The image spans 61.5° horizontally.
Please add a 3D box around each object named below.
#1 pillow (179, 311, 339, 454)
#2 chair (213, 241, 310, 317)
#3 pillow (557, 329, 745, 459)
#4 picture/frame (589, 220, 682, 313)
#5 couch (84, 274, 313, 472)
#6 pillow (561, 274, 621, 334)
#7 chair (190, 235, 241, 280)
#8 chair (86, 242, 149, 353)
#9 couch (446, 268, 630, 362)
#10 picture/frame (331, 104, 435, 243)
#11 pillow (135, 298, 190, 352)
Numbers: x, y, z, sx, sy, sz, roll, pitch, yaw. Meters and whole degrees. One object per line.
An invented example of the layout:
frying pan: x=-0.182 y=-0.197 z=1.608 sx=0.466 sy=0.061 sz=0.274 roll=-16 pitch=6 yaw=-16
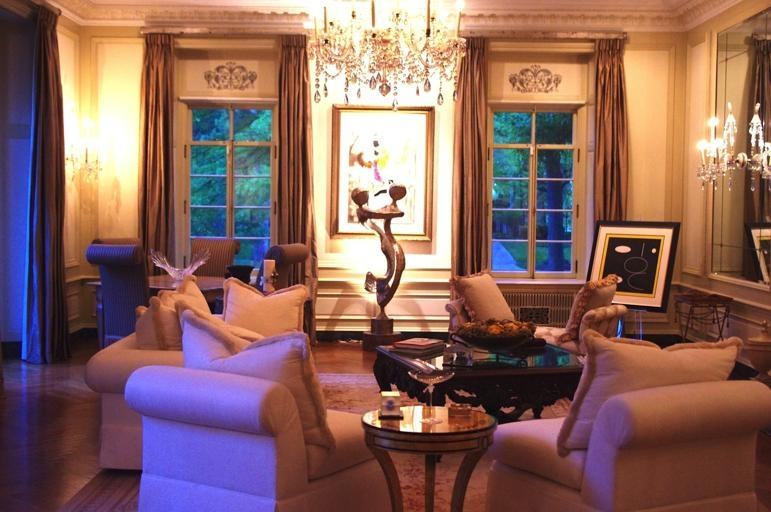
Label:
pillow: x=-0.879 y=0.721 z=4.127 sx=0.917 sy=0.833 sz=0.315 roll=6 pitch=18 yaw=17
chair: x=-1.185 y=0.336 z=6.654 sx=0.543 sy=0.898 sz=0.697 roll=16 pitch=2 yaw=-41
pillow: x=1.699 y=0.898 z=4.220 sx=1.203 sy=0.895 sz=0.425 roll=3 pitch=12 yaw=-14
picture/frame: x=2.828 y=0.105 z=7.367 sx=1.056 sy=1.200 sz=0.132 roll=4 pitch=-14 yaw=23
couch: x=-1.583 y=0.939 z=5.813 sx=1.471 sy=1.271 sz=2.064 roll=1 pitch=3 yaw=-2
pillow: x=1.900 y=0.460 z=6.136 sx=0.518 sy=0.535 sz=0.189 roll=-1 pitch=23 yaw=-35
chair: x=-2.106 y=0.055 z=8.399 sx=0.508 sy=0.704 sz=0.534 roll=1 pitch=-9 yaw=0
chair: x=-2.469 y=0.446 z=6.527 sx=0.607 sy=1.156 sz=0.871 roll=2 pitch=2 yaw=13
couch: x=1.461 y=0.659 z=6.442 sx=1.683 sy=0.990 sz=0.805 roll=1 pitch=4 yaw=39
picture/frame: x=-0.041 y=-1.132 z=8.346 sx=1.711 sy=2.299 sz=0.128 roll=1 pitch=1 yaw=-2
pillow: x=-1.794 y=0.581 z=5.175 sx=0.341 sy=0.538 sz=0.624 roll=-4 pitch=1 yaw=-7
